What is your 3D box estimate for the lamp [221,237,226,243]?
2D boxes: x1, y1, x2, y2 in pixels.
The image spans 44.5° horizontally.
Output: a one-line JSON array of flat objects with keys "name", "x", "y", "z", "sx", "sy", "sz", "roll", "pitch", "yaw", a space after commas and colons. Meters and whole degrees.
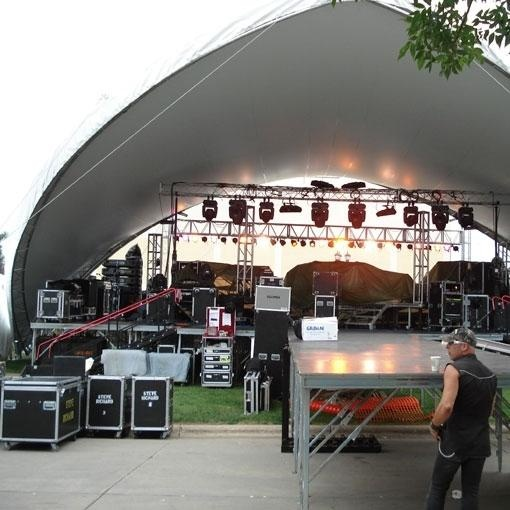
[{"name": "lamp", "x": -1.619, "y": -0.822, "z": 31.713, "sx": 0.231, "sy": 0.257, "sz": 0.493, "roll": 1, "pitch": 0, "yaw": -2}]

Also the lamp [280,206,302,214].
[{"name": "lamp", "x": 1.303, "y": -1.813, "z": 23.222, "sx": 0.765, "sy": 0.289, "sz": 0.427, "roll": 1, "pitch": 0, "yaw": 1}]

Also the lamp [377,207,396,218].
[{"name": "lamp", "x": 4.906, "y": -1.653, "z": 23.128, "sx": 0.705, "sy": 0.209, "sz": 0.407, "roll": -4, "pitch": 5, "yaw": -10}]

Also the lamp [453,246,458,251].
[{"name": "lamp", "x": 9.856, "y": -0.369, "z": 30.648, "sx": 0.247, "sy": 0.231, "sz": 0.716, "roll": 1, "pitch": 0, "yaw": 16}]

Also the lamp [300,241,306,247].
[{"name": "lamp", "x": 2.451, "y": -0.671, "z": 31.999, "sx": 0.273, "sy": 0.304, "sz": 0.811, "roll": 1, "pitch": 0, "yaw": 2}]

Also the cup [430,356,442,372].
[{"name": "cup", "x": 1.857, "y": 1.143, "z": 6.473, "sx": 0.116, "sy": 0.143, "sz": 0.115, "roll": 1, "pitch": -6, "yaw": 0}]

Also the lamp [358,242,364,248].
[{"name": "lamp", "x": 5.379, "y": -0.542, "z": 31.766, "sx": 0.221, "sy": 0.302, "sz": 0.233, "roll": 2, "pitch": -4, "yaw": -22}]

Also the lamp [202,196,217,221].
[{"name": "lamp", "x": -1.641, "y": -1.719, "z": 22.634, "sx": 0.500, "sy": 0.791, "sz": 1.061, "roll": 1, "pitch": 0, "yaw": -7}]

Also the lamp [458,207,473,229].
[{"name": "lamp", "x": 7.514, "y": -1.415, "z": 22.260, "sx": 0.445, "sy": 0.841, "sz": 0.624, "roll": 1, "pitch": 0, "yaw": 23}]

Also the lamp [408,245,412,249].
[{"name": "lamp", "x": 7.693, "y": -0.454, "z": 30.994, "sx": 0.218, "sy": 0.263, "sz": 0.060, "roll": 1, "pitch": 4, "yaw": -3}]

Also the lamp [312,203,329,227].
[{"name": "lamp", "x": 2.380, "y": -1.553, "z": 23.039, "sx": 0.611, "sy": 0.901, "sz": 0.496, "roll": 1, "pitch": 0, "yaw": -3}]

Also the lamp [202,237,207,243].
[{"name": "lamp", "x": -2.518, "y": -0.821, "z": 30.901, "sx": 0.187, "sy": 0.328, "sz": 0.089, "roll": -1, "pitch": 2, "yaw": 2}]

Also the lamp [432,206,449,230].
[{"name": "lamp", "x": 6.596, "y": -1.392, "z": 22.301, "sx": 0.552, "sy": 0.927, "sz": 0.511, "roll": 1, "pitch": 0, "yaw": 16}]

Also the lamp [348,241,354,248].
[{"name": "lamp", "x": 4.956, "y": -0.570, "z": 32.235, "sx": 0.270, "sy": 0.238, "sz": 0.267, "roll": 7, "pitch": -5, "yaw": -31}]

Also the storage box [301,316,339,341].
[{"name": "storage box", "x": 1.083, "y": 1.278, "z": 10.545, "sx": 0.403, "sy": 0.312, "sz": 0.453, "roll": 0, "pitch": -6, "yaw": 1}]

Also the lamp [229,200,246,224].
[{"name": "lamp", "x": -0.624, "y": -1.600, "z": 22.152, "sx": 0.626, "sy": 0.824, "sz": 0.649, "roll": 1, "pitch": 0, "yaw": -13}]

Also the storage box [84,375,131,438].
[{"name": "storage box", "x": -2.395, "y": 2.573, "z": 10.501, "sx": 0.482, "sy": 0.915, "sz": 0.945, "roll": -6, "pitch": -14, "yaw": 22}]

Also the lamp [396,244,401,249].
[{"name": "lamp", "x": 7.131, "y": -0.477, "z": 31.031, "sx": 0.213, "sy": 0.327, "sz": 0.551, "roll": 1, "pitch": 0, "yaw": 9}]

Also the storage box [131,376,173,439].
[{"name": "storage box", "x": -1.739, "y": 2.543, "z": 10.479, "sx": 0.688, "sy": 1.005, "sz": 0.784, "roll": 0, "pitch": -6, "yaw": 9}]

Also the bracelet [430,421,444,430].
[{"name": "bracelet", "x": 1.696, "y": 1.623, "z": 5.823, "sx": 0.090, "sy": 0.049, "sz": 0.113, "roll": 1, "pitch": -6, "yaw": -2}]

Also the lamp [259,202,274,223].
[{"name": "lamp", "x": 0.409, "y": -1.675, "z": 23.141, "sx": 0.500, "sy": 0.744, "sz": 0.674, "roll": 1, "pitch": 0, "yaw": -2}]

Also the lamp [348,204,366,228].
[{"name": "lamp", "x": 3.701, "y": -1.509, "z": 22.663, "sx": 0.578, "sy": 0.941, "sz": 0.403, "roll": 1, "pitch": 0, "yaw": 3}]

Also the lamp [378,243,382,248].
[{"name": "lamp", "x": 6.313, "y": -0.518, "z": 31.443, "sx": 0.357, "sy": 0.270, "sz": 0.176, "roll": 1, "pitch": 0, "yaw": -15}]
